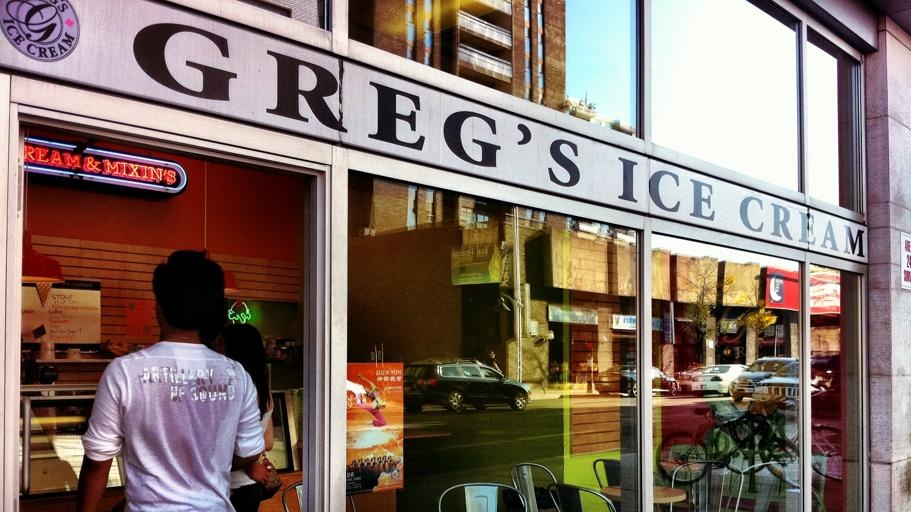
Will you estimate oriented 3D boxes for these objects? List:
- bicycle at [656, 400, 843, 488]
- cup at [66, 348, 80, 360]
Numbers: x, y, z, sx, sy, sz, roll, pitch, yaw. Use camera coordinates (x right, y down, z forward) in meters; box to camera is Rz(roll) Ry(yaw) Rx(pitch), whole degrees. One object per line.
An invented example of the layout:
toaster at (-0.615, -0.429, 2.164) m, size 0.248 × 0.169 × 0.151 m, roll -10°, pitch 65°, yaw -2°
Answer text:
bicycle at (3.223, 2.069, 8.682) m, size 2.046 × 1.212 × 1.005 m, roll 0°, pitch -7°, yaw -5°
cup at (-4.645, 1.198, 9.971) m, size 0.147 × 0.117 × 0.148 m, roll -1°, pitch -8°, yaw 0°
